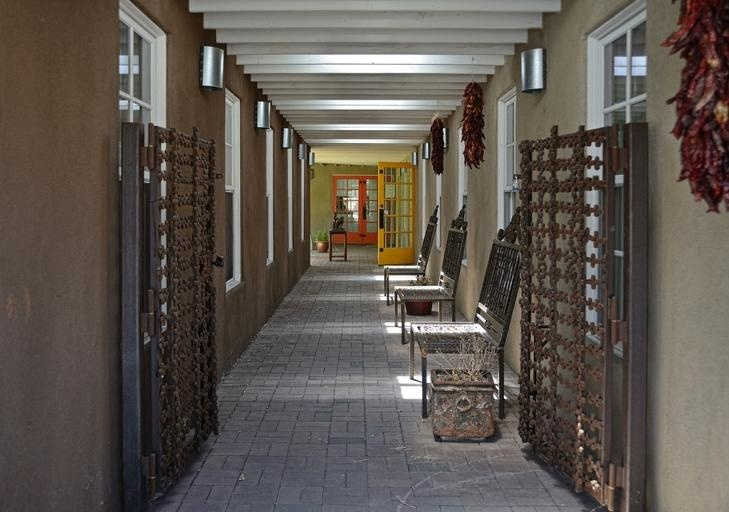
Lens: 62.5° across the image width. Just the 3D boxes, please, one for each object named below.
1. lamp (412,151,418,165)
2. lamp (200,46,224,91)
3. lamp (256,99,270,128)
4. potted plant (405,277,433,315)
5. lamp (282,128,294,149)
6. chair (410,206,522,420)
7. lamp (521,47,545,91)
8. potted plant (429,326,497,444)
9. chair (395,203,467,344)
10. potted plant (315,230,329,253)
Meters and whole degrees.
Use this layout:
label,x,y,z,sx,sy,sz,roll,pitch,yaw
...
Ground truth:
label,x,y,z,sx,sy,sz,roll,pitch,yaw
lamp,1.184,-2.336,14.354,0.134,0.520,0.346,0,2,-1
lamp,-1.315,-1.608,5.143,0.114,0.394,0.363,0,2,4
lamp,-1.241,-1.729,7.342,0.144,0.336,0.246,2,5,23
potted plant,0.778,0.599,8.586,0.439,0.421,0.435,4,6,23
lamp,-1.265,-1.902,9.643,0.117,0.327,0.380,0,5,5
chair,1.020,0.565,5.990,0.652,1.621,1.794,1,0,4
lamp,1.452,-1.610,5.201,0.180,0.358,0.146,0,5,2
potted plant,0.731,0.978,4.582,0.564,1.058,0.572,0,1,3
chair,0.984,0.195,8.881,0.817,2.180,2.023,1,2,4
potted plant,-1.450,-0.474,20.233,0.530,0.969,0.605,-3,7,-7
